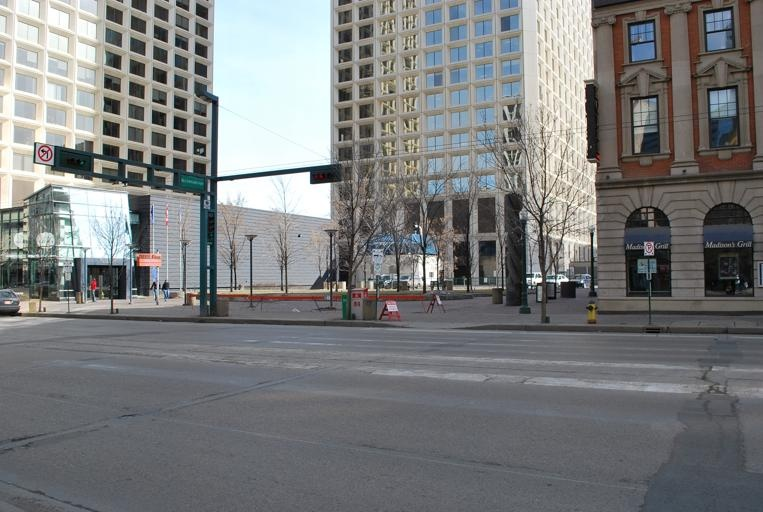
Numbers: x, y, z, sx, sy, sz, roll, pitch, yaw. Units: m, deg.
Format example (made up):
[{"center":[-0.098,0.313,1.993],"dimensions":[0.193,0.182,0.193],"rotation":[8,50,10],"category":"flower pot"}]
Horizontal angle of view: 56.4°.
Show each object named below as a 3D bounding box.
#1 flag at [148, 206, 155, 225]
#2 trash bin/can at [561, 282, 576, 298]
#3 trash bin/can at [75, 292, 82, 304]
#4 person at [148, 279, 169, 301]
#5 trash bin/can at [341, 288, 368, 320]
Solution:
[{"center":[-22.003,-3.988,68.283],"dimensions":[0.446,1.628,1.865],"rotation":[-3,6,-19],"category":"flag"},{"center":[13.677,2.454,51.890],"dimensions":[1.086,1.633,1.107],"rotation":[-1,-2,1],"category":"trash bin/can"},{"center":[-21.695,2.977,51.186],"dimensions":[0.466,0.742,0.842],"rotation":[-4,6,-23],"category":"trash bin/can"},{"center":[-18.002,2.798,57.544],"dimensions":[1.351,1.899,0.486],"rotation":[6,10,19],"category":"person"},{"center":[-1.270,2.199,32.536],"dimensions":[1.283,1.720,1.211],"rotation":[-2,-3,12],"category":"trash bin/can"}]
